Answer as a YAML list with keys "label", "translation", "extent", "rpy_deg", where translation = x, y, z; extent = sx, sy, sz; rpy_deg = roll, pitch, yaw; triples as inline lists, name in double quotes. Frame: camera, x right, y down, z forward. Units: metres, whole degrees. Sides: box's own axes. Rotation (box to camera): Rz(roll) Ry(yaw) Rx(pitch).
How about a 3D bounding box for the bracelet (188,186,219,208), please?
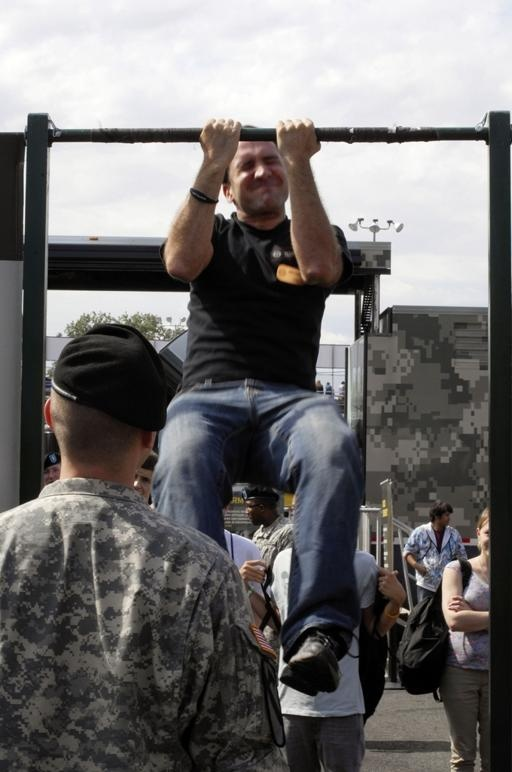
- label: "bracelet"
  translation: [-0.141, -0.500, 3.121]
  extent: [0.072, 0.040, 0.036]
  rpy_deg: [1, 0, 0]

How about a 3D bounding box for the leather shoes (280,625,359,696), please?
- label: "leather shoes"
  translation: [0.137, 0.654, 2.781]
  extent: [0.090, 0.101, 0.202]
  rpy_deg: [22, -31, 8]

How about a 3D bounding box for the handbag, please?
- label: "handbag"
  translation: [0.784, 1.233, 5.558]
  extent: [0.213, 0.466, 0.359]
  rpy_deg: [1, 0, 5]

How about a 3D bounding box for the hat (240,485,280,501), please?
- label: "hat"
  translation: [0.026, 0.615, 6.708]
  extent: [0.221, 0.091, 0.172]
  rpy_deg: [2, -6, 2]

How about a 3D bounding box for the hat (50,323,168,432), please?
- label: "hat"
  translation: [-0.287, -0.020, 2.367]
  extent: [0.159, 0.193, 0.226]
  rpy_deg: [12, 20, -29]
